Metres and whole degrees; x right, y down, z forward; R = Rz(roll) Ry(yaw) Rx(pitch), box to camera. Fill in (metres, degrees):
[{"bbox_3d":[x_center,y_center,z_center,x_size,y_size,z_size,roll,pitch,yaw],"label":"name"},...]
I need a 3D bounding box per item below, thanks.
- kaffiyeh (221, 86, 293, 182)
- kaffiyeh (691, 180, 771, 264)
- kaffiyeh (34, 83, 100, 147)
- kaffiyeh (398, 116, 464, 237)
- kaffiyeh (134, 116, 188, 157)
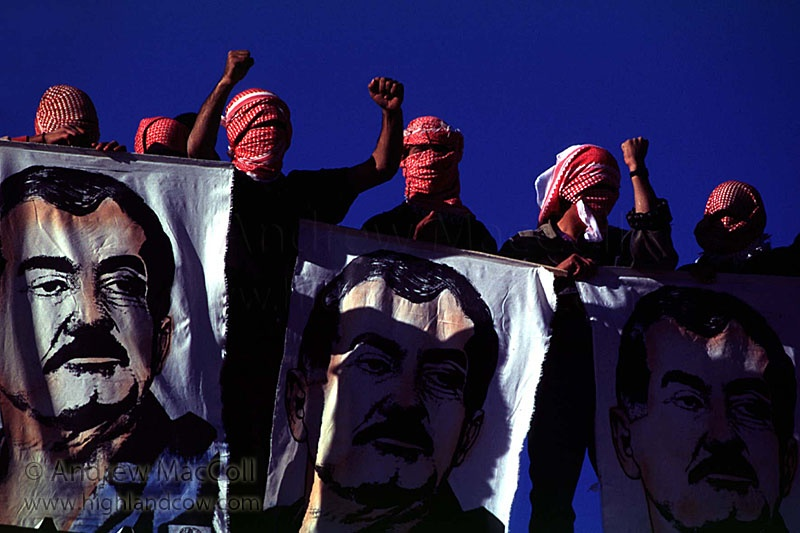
[{"bbox_3d":[-1.331,-1.228,13.845,0.656,0.904,0.644,1,-16,-25],"label":"kaffiyeh"},{"bbox_3d":[3.134,-0.372,13.811,0.767,0.831,0.706,3,-4,-19],"label":"kaffiyeh"},{"bbox_3d":[-3.146,-1.397,13.957,0.546,0.523,0.413,-4,6,-14],"label":"kaffiyeh"},{"bbox_3d":[0.283,-0.911,14.602,0.717,1.104,0.627,-8,-21,12],"label":"kaffiyeh"},{"bbox_3d":[-2.397,-1.269,14.537,0.475,0.438,0.642,-5,7,6],"label":"kaffiyeh"}]
